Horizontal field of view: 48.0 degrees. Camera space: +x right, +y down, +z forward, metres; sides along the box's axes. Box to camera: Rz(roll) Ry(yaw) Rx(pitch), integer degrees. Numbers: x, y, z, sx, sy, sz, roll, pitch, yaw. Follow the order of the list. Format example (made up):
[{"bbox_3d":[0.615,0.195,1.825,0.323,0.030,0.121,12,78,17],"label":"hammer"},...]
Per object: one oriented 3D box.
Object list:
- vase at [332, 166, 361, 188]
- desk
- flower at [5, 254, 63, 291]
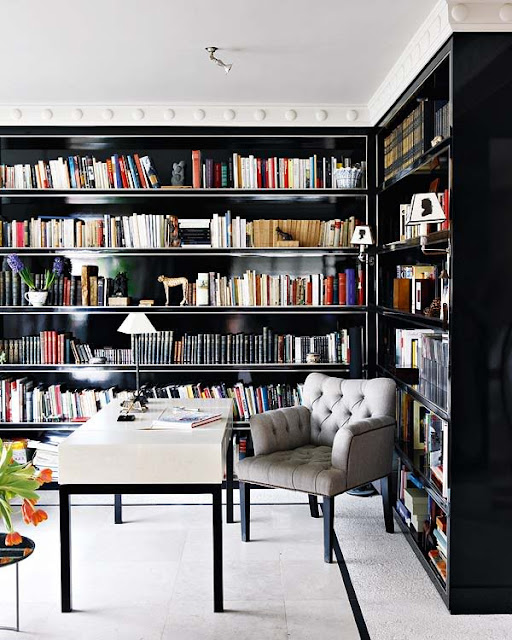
[{"bbox_3d":[0.667,-1.042,4.257,0.208,0.167,0.129,0,1,6],"label":"vase"},{"bbox_3d":[-0.520,0.892,2.921,0.741,0.767,0.864,0,1,0],"label":"desk"},{"bbox_3d":[-1.723,-0.356,4.391,0.225,0.257,0.079,-1,3,-15],"label":"flower"}]
